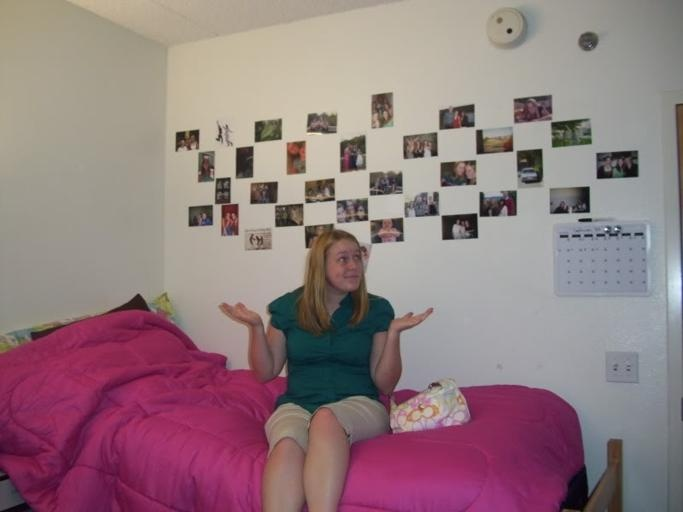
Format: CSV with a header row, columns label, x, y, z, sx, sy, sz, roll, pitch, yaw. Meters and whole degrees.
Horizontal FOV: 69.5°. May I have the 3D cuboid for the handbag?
label,x,y,z,sx,sy,sz,roll,pitch,yaw
handbag,0.385,0.711,2.180,0.291,0.133,0.225,-20,30,17
